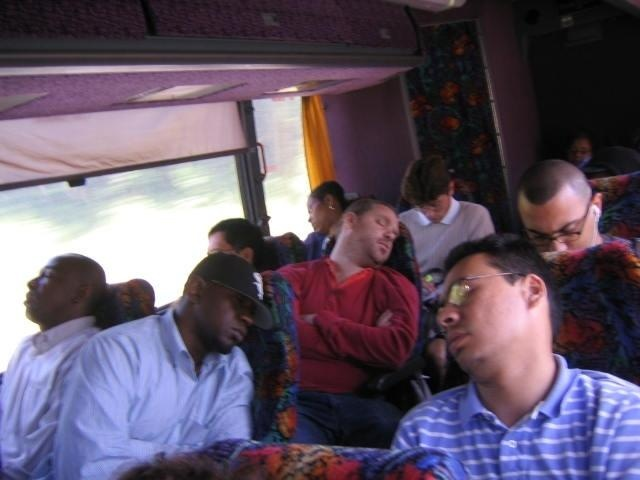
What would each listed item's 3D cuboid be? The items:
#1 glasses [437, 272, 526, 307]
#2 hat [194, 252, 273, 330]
[{"bbox_3d":[0.444,0.141,1.487,0.141,0.034,0.131,-9,-21,-13],"label":"glasses"},{"bbox_3d":[-0.327,0.197,2.052,0.349,0.169,0.241,26,-7,4],"label":"hat"}]
